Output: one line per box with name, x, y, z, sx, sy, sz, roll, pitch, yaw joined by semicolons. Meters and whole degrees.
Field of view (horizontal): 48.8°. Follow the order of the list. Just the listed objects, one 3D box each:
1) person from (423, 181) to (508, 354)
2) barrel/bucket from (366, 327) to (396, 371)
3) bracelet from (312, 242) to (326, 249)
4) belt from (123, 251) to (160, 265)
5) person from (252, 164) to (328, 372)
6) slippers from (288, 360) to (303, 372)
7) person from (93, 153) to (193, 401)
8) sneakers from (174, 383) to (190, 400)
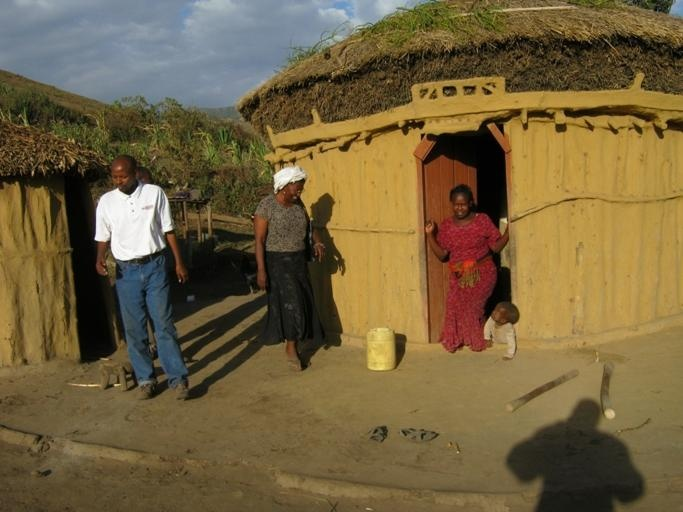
person;1.396;0.145;8.366;0.842;1.847;0.382;-3;4;11
barrel/bucket;0.438;1.032;8.359;0.438;0.400;0.440;-1;1;0
bracelet;-0.262;-0.124;8.557;0.099;0.051;0.123;2;1;-11
belt;-2.054;0.021;7.793;0.425;0.118;0.132;-5;4;-21
person;-0.539;0.149;8.326;0.609;2.235;0.791;-2;4;24
slippers;-0.513;1.210;8.330;0.089;0.168;0.045;-3;-29;-8
person;-2.095;0.225;7.874;0.931;2.557;0.334;-3;4;7
sneakers;-1.632;1.398;7.771;0.107;0.092;0.193;2;-3;-25
